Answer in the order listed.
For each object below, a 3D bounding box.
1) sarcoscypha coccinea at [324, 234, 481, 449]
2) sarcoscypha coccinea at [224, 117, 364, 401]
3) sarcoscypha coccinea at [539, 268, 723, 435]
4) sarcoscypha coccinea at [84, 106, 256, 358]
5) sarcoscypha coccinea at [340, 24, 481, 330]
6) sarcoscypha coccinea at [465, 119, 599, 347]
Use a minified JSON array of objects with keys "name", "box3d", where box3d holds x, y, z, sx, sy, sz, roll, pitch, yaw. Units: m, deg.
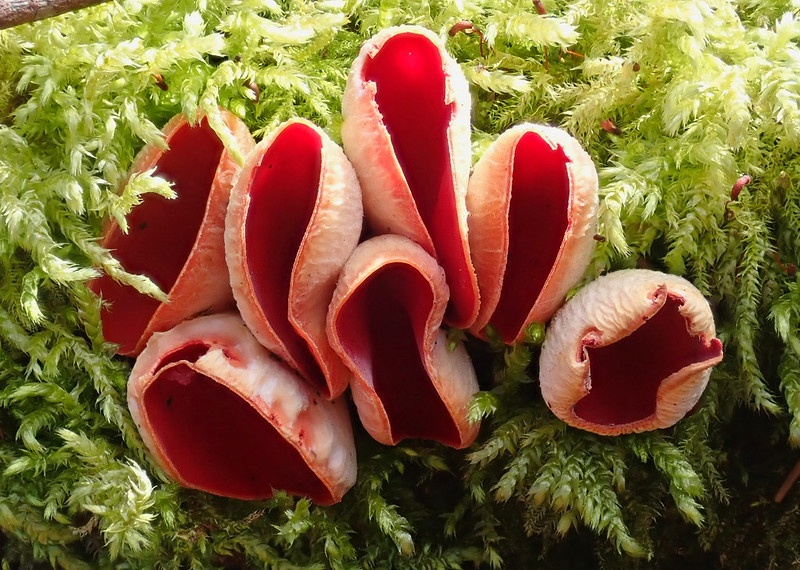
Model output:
[{"name":"sarcoscypha coccinea","box3d":[0.037,0.141,1.720,0.295,0.497,0.236,-13,13,12]},{"name":"sarcoscypha coccinea","box3d":[-0.211,-0.037,1.590,0.312,0.537,0.172,-7,-3,0]},{"name":"sarcoscypha coccinea","box3d":[0.486,0.139,1.738,0.415,0.328,0.260,-32,8,16]},{"name":"sarcoscypha coccinea","box3d":[-0.553,-0.120,1.667,0.200,0.534,0.419,18,19,-43]},{"name":"sarcoscypha coccinea","box3d":[0.060,-0.230,1.702,0.283,0.664,0.256,-11,8,2]},{"name":"sarcoscypha coccinea","box3d":[0.310,-0.149,1.626,0.342,0.195,0.472,13,53,6]}]
